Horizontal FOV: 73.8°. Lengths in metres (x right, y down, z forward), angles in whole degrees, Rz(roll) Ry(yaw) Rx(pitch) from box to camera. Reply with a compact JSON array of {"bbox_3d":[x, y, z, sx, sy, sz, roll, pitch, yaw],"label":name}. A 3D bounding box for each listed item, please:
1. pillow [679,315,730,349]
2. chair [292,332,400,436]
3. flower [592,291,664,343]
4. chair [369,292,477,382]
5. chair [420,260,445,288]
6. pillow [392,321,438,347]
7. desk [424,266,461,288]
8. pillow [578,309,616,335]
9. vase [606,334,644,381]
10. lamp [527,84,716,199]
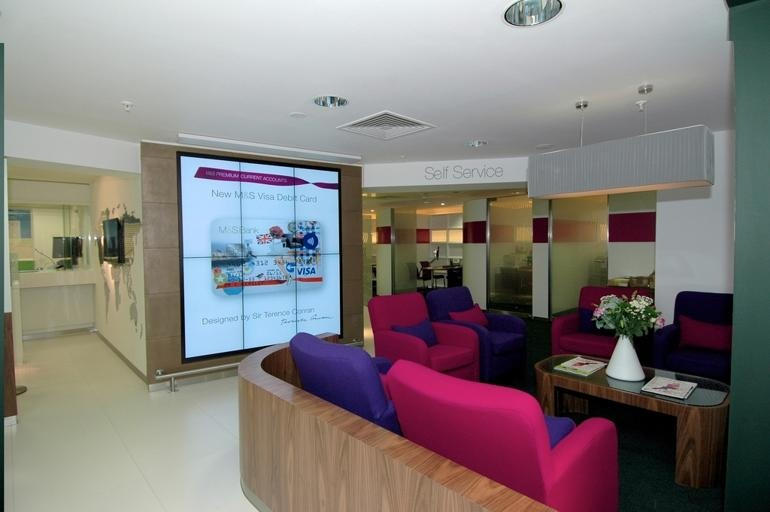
[{"bbox_3d":[3.959,0.970,6.380,0.577,0.306,0.354,7,14,37],"label":"pillow"},{"bbox_3d":[-0.354,0.929,4.536,0.878,0.985,0.787,4,10,39],"label":"chair"},{"bbox_3d":[2.657,0.614,5.738,0.750,0.649,0.654,2,1,16],"label":"flower"},{"bbox_3d":[0.419,1.056,7.007,1.073,1.376,1.322,0,-4,-34],"label":"chair"},{"bbox_3d":[1.407,0.533,15.332,0.802,0.823,0.776,0,-1,-40],"label":"chair"},{"bbox_3d":[0.476,1.029,6.944,0.470,0.327,0.125,3,-28,-37],"label":"pillow"},{"bbox_3d":[1.755,0.624,15.137,1.181,0.744,0.692,7,13,34],"label":"desk"},{"bbox_3d":[2.862,0.949,7.183,0.476,0.447,0.131,-1,-21,34],"label":"pillow"},{"bbox_3d":[2.614,1.113,5.502,0.432,0.442,0.414,14,-12,-32],"label":"vase"},{"bbox_3d":[2.155,-1.117,4.867,1.509,0.937,0.392,-4,22,27],"label":"lamp"}]
